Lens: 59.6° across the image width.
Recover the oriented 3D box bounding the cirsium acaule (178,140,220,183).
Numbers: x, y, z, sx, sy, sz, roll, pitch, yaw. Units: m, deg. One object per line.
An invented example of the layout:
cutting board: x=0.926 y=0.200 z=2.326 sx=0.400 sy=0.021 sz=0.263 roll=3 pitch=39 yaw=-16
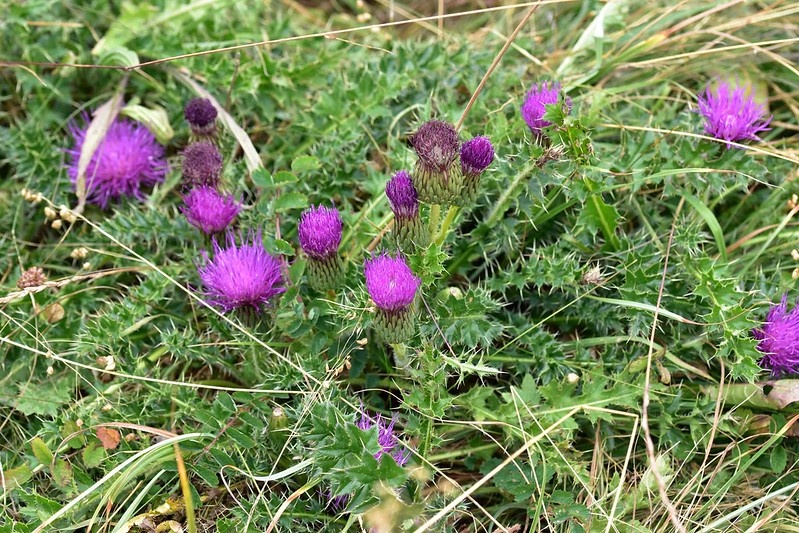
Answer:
cirsium acaule: x=-1.116 y=-0.574 z=3.912 sx=0.200 sy=0.227 sz=0.225 roll=-1 pitch=37 yaw=-4

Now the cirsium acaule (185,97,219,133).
cirsium acaule: x=-1.160 y=-0.901 z=4.095 sx=0.167 sy=0.173 sz=0.165 roll=21 pitch=57 yaw=12

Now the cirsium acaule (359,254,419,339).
cirsium acaule: x=-0.047 y=0.145 z=3.493 sx=0.239 sy=0.353 sz=0.244 roll=-19 pitch=38 yaw=-20
